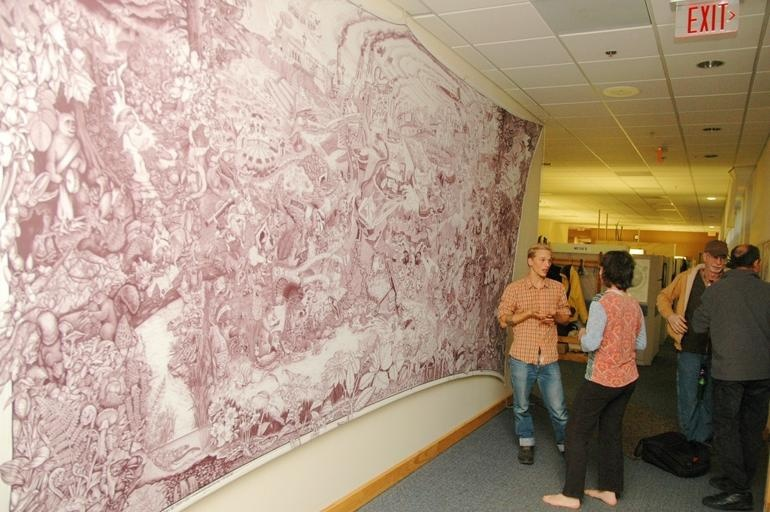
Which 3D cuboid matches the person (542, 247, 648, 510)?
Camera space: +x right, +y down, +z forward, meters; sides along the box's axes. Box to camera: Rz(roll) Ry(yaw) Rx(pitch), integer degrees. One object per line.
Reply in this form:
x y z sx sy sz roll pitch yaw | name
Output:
1.677 0.979 3.991 0.642 2.056 0.386 1 4 -22 | person

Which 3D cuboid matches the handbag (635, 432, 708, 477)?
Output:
2.622 1.825 4.718 0.338 0.163 0.401 -3 2 -23 | handbag
